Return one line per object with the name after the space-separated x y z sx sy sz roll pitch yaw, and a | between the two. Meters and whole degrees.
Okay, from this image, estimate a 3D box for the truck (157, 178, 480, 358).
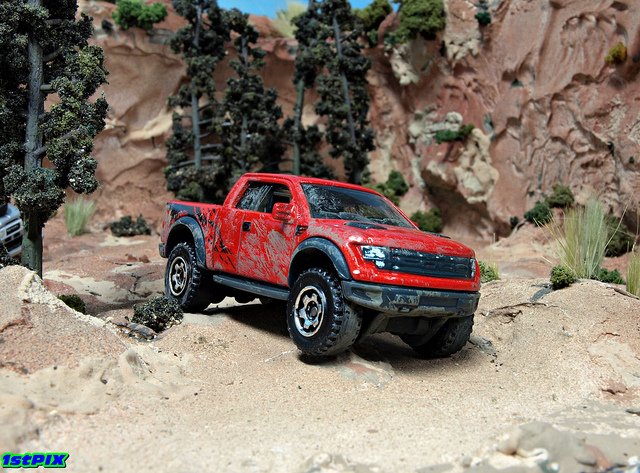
-0.077 0.300 9.918 2.514 2.230 4.235 9 0 -43 | truck

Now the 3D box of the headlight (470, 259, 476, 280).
2.242 0.454 9.218 0.046 0.216 0.214 -2 30 13 | headlight
